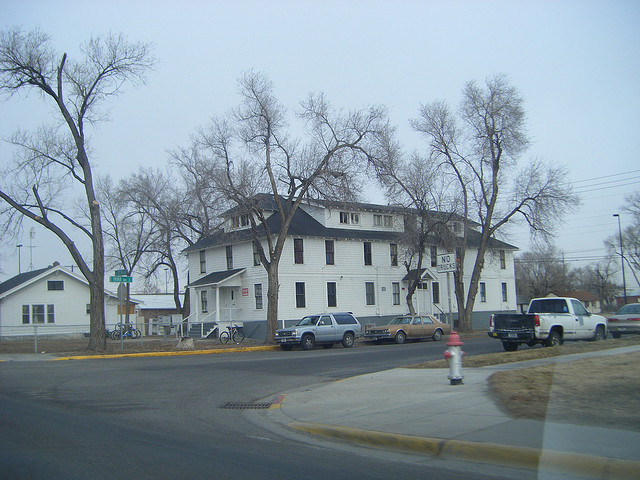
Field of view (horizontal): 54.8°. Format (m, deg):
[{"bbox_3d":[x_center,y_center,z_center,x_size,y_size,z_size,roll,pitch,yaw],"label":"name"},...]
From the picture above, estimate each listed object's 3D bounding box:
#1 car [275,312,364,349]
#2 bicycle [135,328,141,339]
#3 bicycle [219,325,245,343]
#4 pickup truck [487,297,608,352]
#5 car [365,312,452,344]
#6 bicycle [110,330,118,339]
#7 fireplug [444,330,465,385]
[{"bbox_3d":[-0.128,4.869,31.858,3.627,1.675,2.007,8,-15,-37],"label":"car"},{"bbox_3d":[-13.422,6.891,45.269,0.242,0.881,0.811,1,4,-22],"label":"bicycle"},{"bbox_3d":[-5.209,5.618,36.380,1.420,0.964,0.751,6,-12,-30],"label":"bicycle"},{"bbox_3d":[9.113,3.353,24.723,4.269,1.716,2.109,1,-4,-35],"label":"pickup truck"},{"bbox_3d":[4.980,5.001,34.545,4.785,1.549,1.521,4,-11,-36],"label":"car"},{"bbox_3d":[-14.490,6.699,43.277,0.649,0.734,0.208,2,5,-2],"label":"bicycle"},{"bbox_3d":[3.316,2.910,15.193,0.622,1.322,0.464,3,-8,-35],"label":"fireplug"}]
